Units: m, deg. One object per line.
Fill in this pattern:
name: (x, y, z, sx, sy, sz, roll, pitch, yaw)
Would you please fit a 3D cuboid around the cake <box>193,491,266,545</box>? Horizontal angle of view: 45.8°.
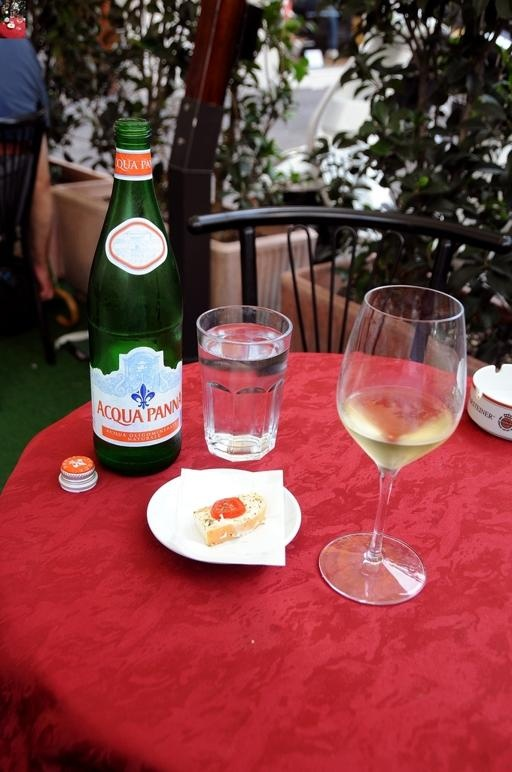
cake: (-0.021, 0.108, 0.501, 0.047, 0.016, 0.033, -15, 34, -28)
